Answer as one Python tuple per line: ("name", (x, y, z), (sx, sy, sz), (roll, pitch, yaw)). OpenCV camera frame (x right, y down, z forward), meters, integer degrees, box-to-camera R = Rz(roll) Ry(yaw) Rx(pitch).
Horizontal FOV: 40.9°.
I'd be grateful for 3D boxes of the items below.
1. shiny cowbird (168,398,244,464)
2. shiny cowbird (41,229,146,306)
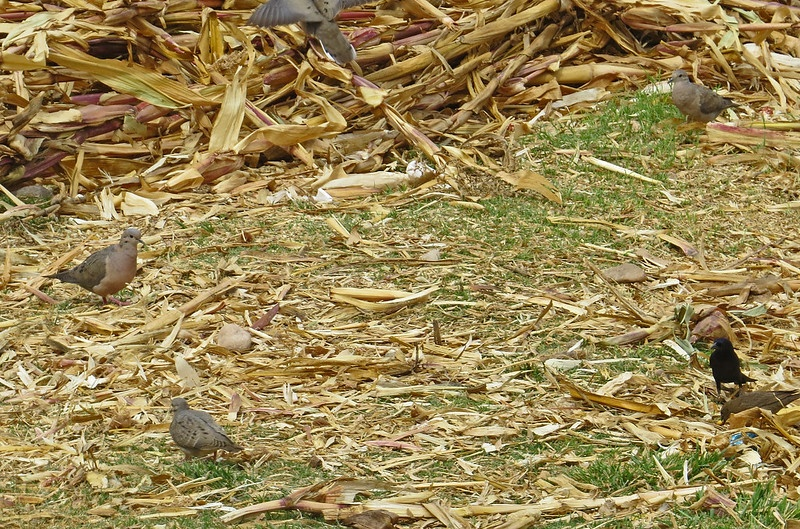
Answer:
("shiny cowbird", (-1.146, 0.973, 6.330), (0.616, 0.262, 0.277), (8, 16, 34))
("shiny cowbird", (-2.138, 0.040, 7.645), (0.982, 0.473, 0.381), (-1, 3, 30))
